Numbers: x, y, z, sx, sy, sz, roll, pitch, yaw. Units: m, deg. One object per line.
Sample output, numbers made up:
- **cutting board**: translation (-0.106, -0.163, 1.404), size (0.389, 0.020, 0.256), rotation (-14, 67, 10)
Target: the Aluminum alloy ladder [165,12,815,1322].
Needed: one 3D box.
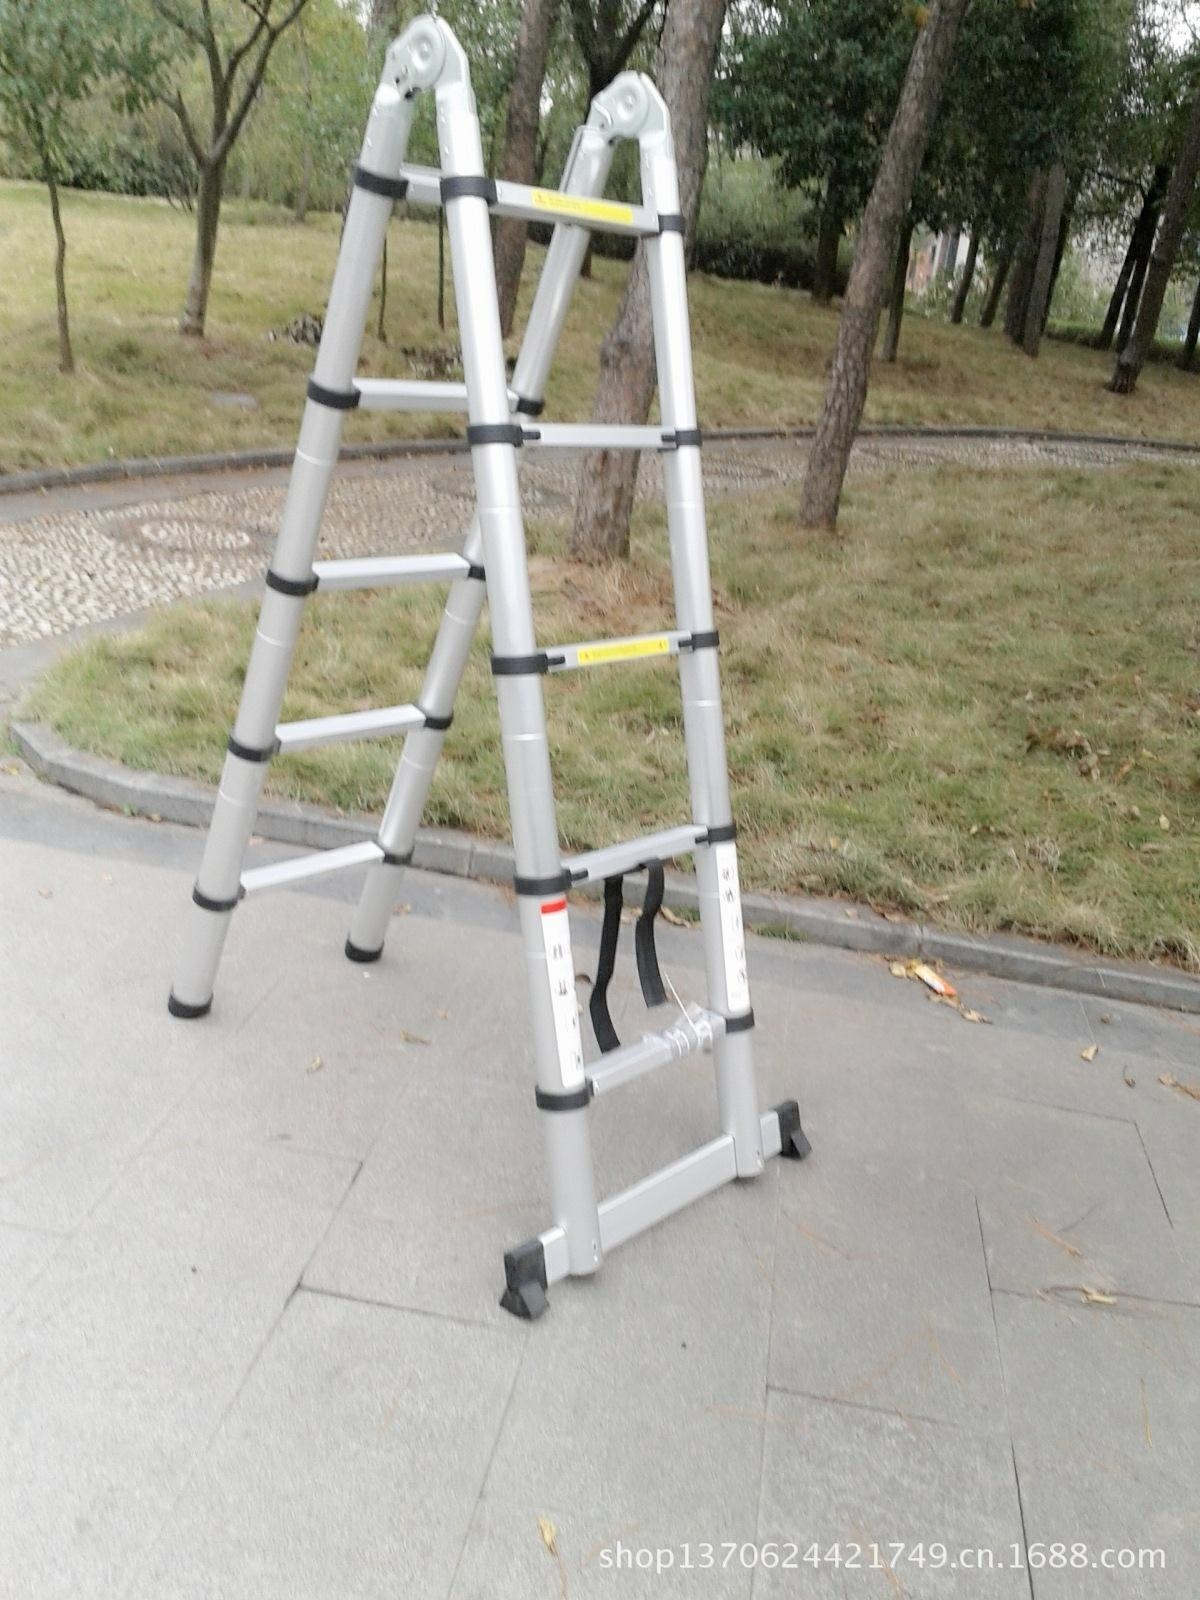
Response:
- **Aluminum alloy ladder**: translation (-0.175, -0.255, 2.512), size (1.439, 2.181, 0.896), rotation (22, 28, 32)
